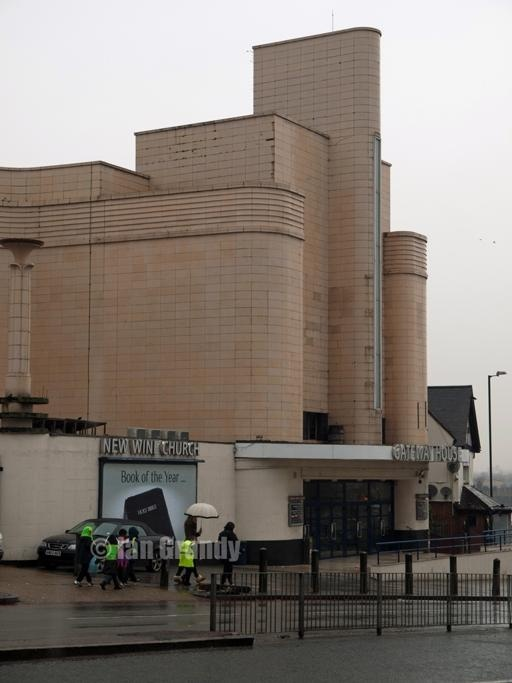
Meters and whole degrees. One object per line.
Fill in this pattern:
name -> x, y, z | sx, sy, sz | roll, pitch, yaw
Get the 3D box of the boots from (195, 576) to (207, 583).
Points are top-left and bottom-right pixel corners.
boots -> -1.299, 5.707, 36.729 | 0.164, 0.220, 0.473 | -4, -1, 8

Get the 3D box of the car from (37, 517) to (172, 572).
car -> -3.620, 5.024, 38.978 | 3.120, 1.176, 1.441 | 11, -14, -36

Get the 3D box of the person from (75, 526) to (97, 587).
person -> -3.943, 4.941, 35.430 | 0.407, 1.353, 1.725 | 0, -5, -7

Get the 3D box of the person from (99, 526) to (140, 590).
person -> -3.189, 5.064, 35.376 | 0.686, 1.216, 1.918 | -1, -5, -5
